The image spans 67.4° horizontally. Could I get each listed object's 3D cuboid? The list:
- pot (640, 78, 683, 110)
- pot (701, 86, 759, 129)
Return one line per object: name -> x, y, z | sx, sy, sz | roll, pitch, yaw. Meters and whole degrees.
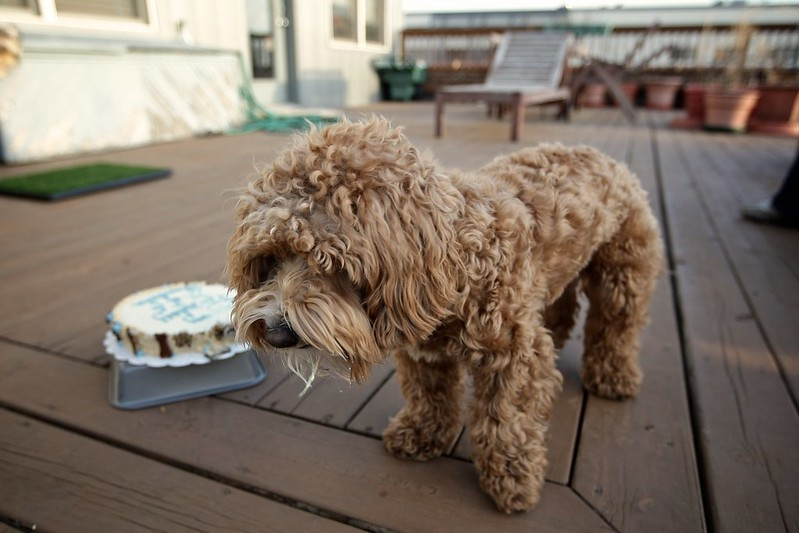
pot -> 0.995, -0.665, 2.288 | 0.117, 0.121, 0.109 | -8, 46, 8
pot -> 1.212, -0.595, 2.228 | 0.148, 0.107, 0.148 | -1, 29, 1
